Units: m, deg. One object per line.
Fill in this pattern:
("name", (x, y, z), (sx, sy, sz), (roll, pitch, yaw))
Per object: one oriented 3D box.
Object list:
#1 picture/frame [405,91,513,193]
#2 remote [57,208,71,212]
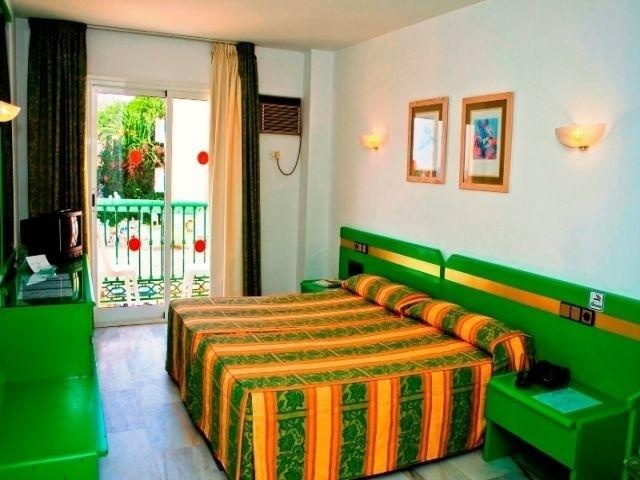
("picture/frame", (1.186, -0.817, 4.048), (0.039, 0.649, 0.895), (-6, 12, -31))
("remote", (-2.532, -0.292, 4.801), (0.019, 0.035, 0.144), (-6, 12, 26))
